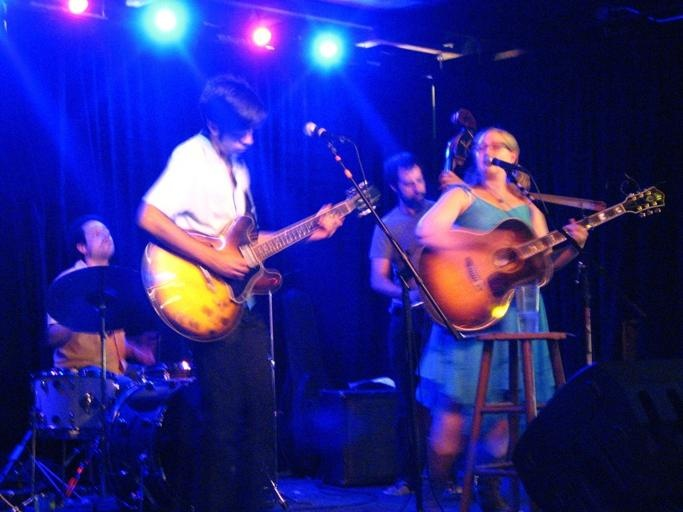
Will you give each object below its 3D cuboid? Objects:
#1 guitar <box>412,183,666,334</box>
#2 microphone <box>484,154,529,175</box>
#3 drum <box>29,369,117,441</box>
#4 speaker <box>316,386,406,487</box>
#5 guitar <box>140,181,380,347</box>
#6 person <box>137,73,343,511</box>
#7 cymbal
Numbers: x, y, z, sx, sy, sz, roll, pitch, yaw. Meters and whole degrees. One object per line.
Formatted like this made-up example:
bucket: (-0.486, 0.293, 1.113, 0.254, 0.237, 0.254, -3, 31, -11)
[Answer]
guitar: (1.248, -0.066, 4.908, 1.661, 0.673, 0.207, -26, -7, -12)
microphone: (1.034, -0.562, 4.849, 0.287, 0.098, 0.120, 10, -45, -5)
drum: (-1.810, 1.006, 5.301, 0.528, 0.391, 0.490, 0, -27, 0)
speaker: (0.120, 1.363, 5.974, 0.641, 0.932, 0.684, 1, -6, -15)
guitar: (-0.475, -0.053, 4.634, 0.152, 0.614, 1.439, -19, 7, 35)
person: (-0.670, 0.194, 4.146, 0.740, 2.156, 0.933, -9, -29, 4)
cymbal: (-1.645, 0.366, 5.201, 0.695, 0.313, 0.690, 0, -31, -13)
